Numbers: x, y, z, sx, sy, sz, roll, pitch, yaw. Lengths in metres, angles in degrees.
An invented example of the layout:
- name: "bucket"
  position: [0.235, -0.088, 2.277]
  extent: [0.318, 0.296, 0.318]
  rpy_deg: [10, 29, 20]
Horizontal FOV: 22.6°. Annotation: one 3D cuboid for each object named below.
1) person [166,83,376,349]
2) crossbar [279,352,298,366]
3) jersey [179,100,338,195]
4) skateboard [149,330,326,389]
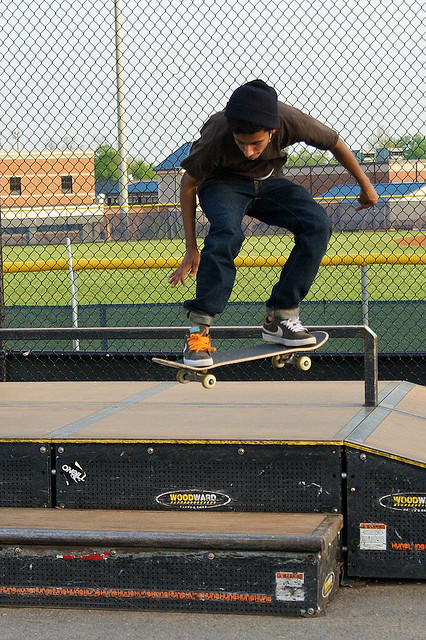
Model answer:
- name: "person"
  position: [0.145, -0.360, 3.978]
  extent: [0.605, 0.990, 0.636]
  rpy_deg: [1, 7, 22]
- name: "crossbar"
  position: [0.301, 0.158, 4.130]
  extent: [0.085, 0.042, 0.035]
  rpy_deg: [-3, -2, -5]
- name: "jersey"
  position: [0.140, -0.638, 3.955]
  extent: [0.397, 0.332, 0.550]
  rpy_deg: [4, 7, 40]
- name: "skateboard"
  position: [0.123, 0.186, 4.657]
  extent: [0.857, 0.130, 0.226]
  rpy_deg: [-6, 11, -27]
